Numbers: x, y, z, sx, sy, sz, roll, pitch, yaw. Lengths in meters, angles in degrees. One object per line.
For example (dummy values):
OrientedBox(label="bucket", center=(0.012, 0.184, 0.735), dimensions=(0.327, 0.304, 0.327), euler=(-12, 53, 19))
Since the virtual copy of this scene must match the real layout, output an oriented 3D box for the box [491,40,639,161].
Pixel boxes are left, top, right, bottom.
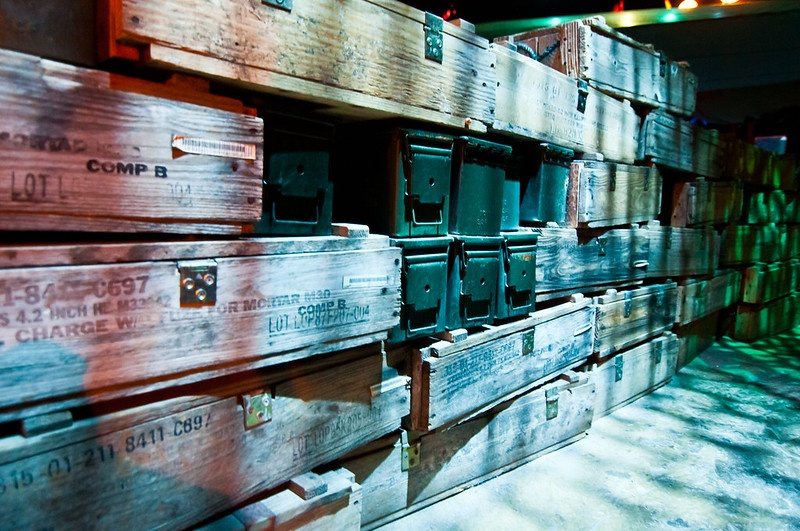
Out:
OrientedBox(label="box", center=(1.103, -1.250, 3.866), dimensions=(1.255, 0.357, 0.651), euler=(4, 1, -39))
